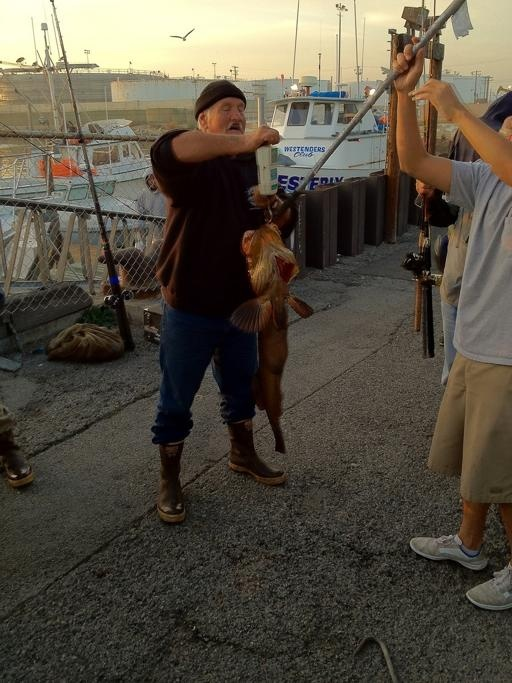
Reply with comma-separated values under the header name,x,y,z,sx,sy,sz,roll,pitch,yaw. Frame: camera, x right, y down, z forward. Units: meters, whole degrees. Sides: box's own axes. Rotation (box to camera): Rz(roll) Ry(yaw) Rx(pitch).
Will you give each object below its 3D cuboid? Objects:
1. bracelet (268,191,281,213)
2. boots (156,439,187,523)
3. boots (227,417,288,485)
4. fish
name,x,y,z,sx,sy,sz,roll,pitch,yaw
bracelet,0.086,-0.572,1.765,0.029,0.080,0.059,17,4,-10
boots,-0.462,0.748,2.397,0.166,0.365,0.385,0,10,-13
boots,0.014,0.658,2.710,0.399,0.382,0.183,9,19,32
fish,0.130,0.016,2.052,0.289,1.086,0.329,13,38,26
